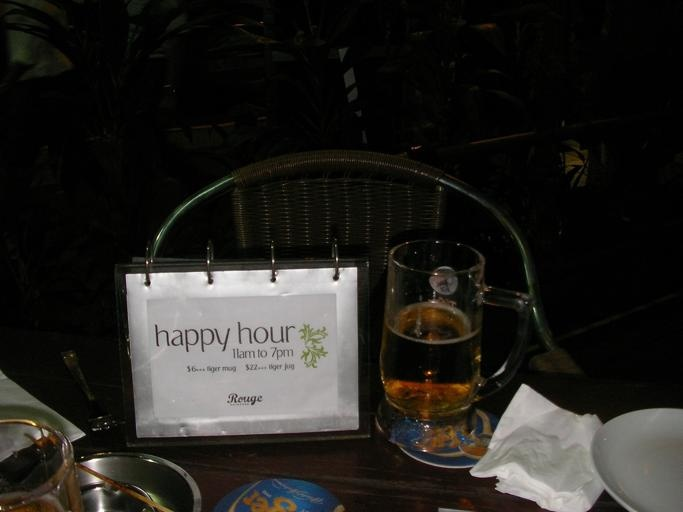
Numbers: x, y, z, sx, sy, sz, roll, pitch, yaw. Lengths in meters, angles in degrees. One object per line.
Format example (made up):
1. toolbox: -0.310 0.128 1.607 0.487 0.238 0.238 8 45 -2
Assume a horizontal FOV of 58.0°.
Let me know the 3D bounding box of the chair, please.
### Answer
1. chair: 0.029 -0.084 1.094 0.430 0.534 0.380 -3 37 1

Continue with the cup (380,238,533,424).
1. cup: 0.166 0.124 0.914 0.223 0.238 0.152 7 10 22
